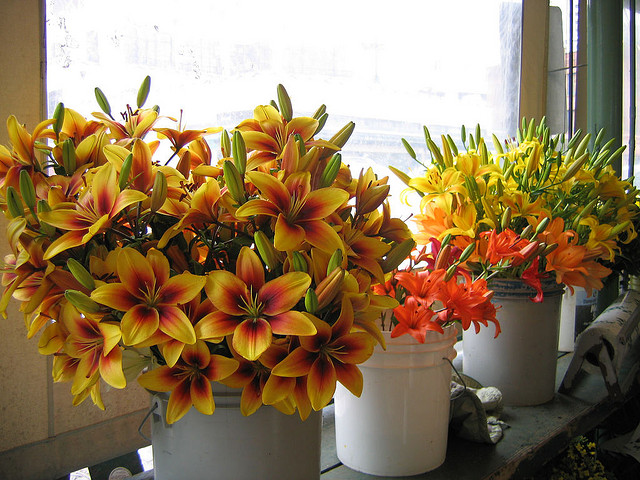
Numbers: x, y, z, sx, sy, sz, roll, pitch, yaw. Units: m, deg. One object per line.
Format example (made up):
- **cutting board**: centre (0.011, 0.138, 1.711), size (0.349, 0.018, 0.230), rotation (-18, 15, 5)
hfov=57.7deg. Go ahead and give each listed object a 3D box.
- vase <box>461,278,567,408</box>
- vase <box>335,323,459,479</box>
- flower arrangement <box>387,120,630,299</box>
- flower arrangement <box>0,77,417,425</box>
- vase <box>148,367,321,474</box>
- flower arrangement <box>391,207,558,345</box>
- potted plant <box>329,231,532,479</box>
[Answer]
- **vase**: centre (0.442, 0.194, 1.333), size (0.219, 0.285, 0.242), rotation (1, 4, 27)
- **vase**: centre (0.144, 0.275, 1.083), size (0.224, 0.264, 0.236), rotation (1, 1, 12)
- **flower arrangement**: centre (0.343, -0.112, 1.207), size (0.371, 0.269, 0.361), rotation (3, 6, 40)
- **flower arrangement**: centre (-0.150, 0.012, 0.793), size (0.406, 0.503, 0.327), rotation (6, -1, -6)
- **vase**: centre (-0.116, 0.192, 0.762), size (0.149, 0.176, 0.165), rotation (-4, -6, 36)
- **flower arrangement**: centre (0.254, 0.078, 0.993), size (0.264, 0.115, 0.161), rotation (-19, 30, -29)
- **potted plant**: centre (0.204, 0.196, 1.179), size (0.402, 0.483, 0.309), rotation (1, 0, -33)
